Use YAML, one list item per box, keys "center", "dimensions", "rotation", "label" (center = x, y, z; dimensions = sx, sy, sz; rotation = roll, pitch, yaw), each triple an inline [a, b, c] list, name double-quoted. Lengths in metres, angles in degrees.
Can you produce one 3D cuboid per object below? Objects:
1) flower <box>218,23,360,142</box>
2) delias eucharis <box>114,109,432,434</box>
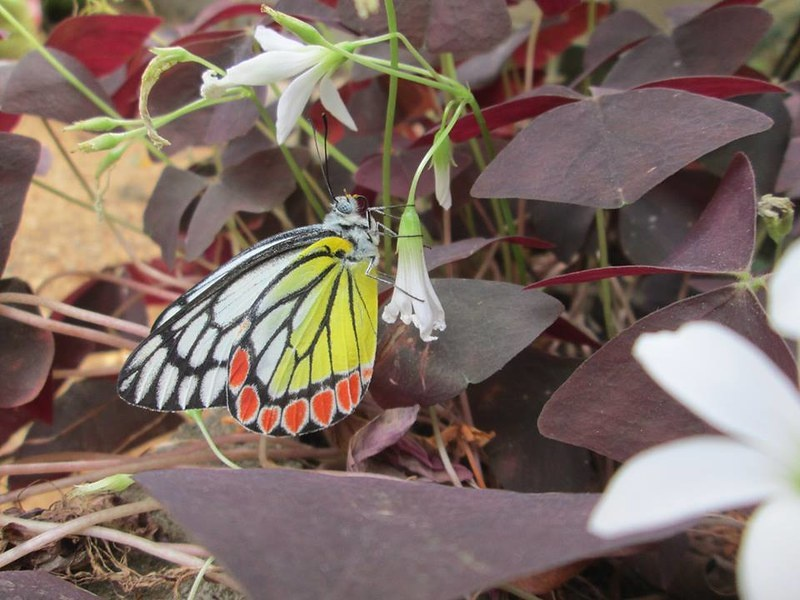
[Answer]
- center: [-0.113, -0.228, 0.925]
  dimensions: [0.124, 0.097, 0.120]
  rotation: [-33, 63, -12]
  label: "flower"
- center: [-0.134, 0.016, 1.091]
  dimensions: [0.424, 0.246, 0.365]
  rotation: [-1, 94, -20]
  label: "delias eucharis"
